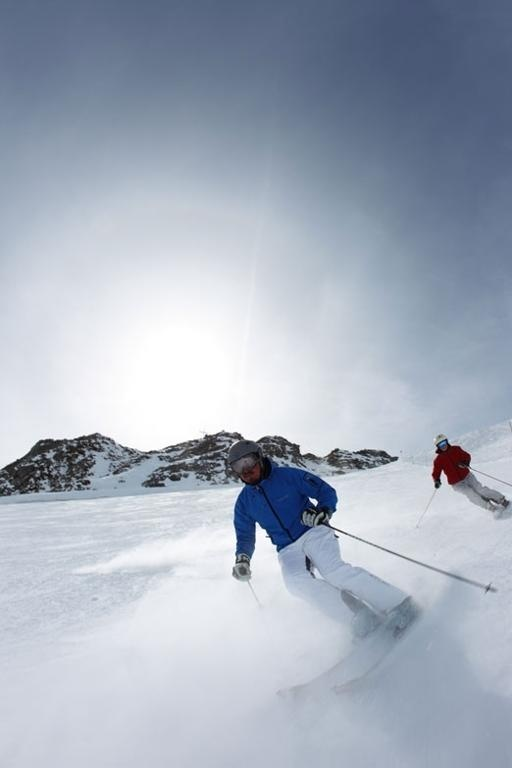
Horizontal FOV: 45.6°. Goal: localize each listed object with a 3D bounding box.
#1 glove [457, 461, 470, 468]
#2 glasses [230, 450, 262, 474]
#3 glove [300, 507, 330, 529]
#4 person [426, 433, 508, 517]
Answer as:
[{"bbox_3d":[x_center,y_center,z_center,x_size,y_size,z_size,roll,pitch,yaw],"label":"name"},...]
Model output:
[{"bbox_3d":[3.608,1.435,10.617,0.161,0.117,0.209,-2,-8,18],"label":"glove"},{"bbox_3d":[-0.124,0.755,5.827,0.203,0.120,0.254,-27,-6,12],"label":"glasses"},{"bbox_3d":[0.544,1.248,5.597,0.250,0.185,0.281,0,-7,5],"label":"glove"},{"bbox_3d":[3.584,1.476,10.485,0.769,1.228,3.186,-1,-7,9],"label":"person"}]
